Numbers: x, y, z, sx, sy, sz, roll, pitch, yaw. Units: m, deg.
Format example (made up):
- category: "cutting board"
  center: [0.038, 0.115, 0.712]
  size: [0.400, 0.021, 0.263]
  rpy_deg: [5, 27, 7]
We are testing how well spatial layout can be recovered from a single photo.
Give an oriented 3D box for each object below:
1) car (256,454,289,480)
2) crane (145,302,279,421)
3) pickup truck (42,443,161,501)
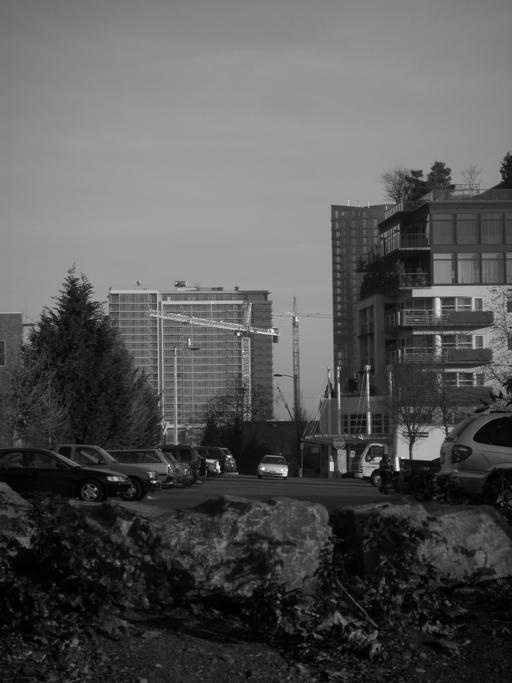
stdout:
- category: "car"
  center: [0.736, 5.910, 49.915]
  size: [1.295, 1.020, 1.713]
  rpy_deg: [1, -1, -5]
- category: "crane"
  center: [-8.089, 2.498, 163.558]
  size: [17.549, 19.084, 3.390]
  rpy_deg: [3, -9, 0]
- category: "pickup truck"
  center: [-3.290, 2.887, 23.955]
  size: [2.728, 1.097, 1.146]
  rpy_deg: [0, -3, -6]
